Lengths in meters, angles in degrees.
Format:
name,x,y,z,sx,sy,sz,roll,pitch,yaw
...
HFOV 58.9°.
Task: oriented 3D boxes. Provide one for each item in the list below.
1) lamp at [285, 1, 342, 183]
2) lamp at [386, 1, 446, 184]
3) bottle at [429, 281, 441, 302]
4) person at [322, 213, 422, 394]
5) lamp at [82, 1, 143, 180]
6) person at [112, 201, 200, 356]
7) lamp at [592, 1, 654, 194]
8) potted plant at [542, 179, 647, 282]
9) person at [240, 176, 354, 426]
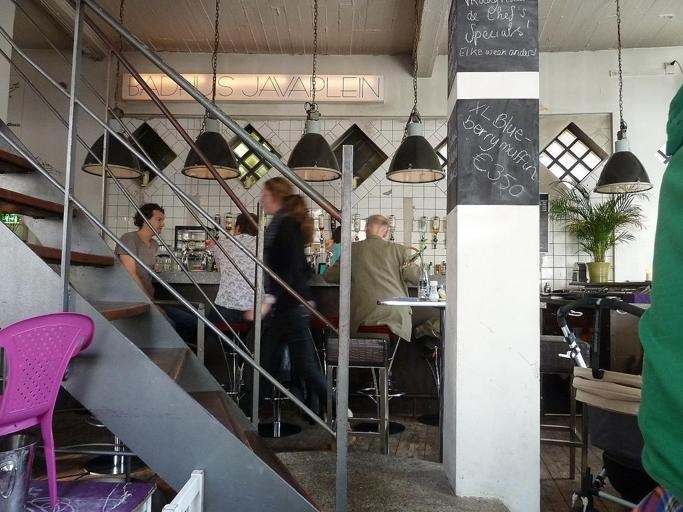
name,x,y,z,sx,sy,sz,roll,pitch,yaw
lamp,-0.291,-1.684,6.248,0.479,1.966,1.289,-1,-5,-1
lamp,0.693,-1.644,6.091,0.519,1.917,1.422,-2,-5,5
bottle,0.612,0.234,4.134,0.101,0.178,0.108,0,-1,0
person,0.283,0.368,5.044,0.636,1.508,0.412,0,12,13
lamp,-2.200,-1.451,5.693,0.486,1.296,0.518,-1,-3,29
person,-1.579,0.048,5.123,0.646,1.382,2.788,1,-6,-20
lamp,2.811,-1.631,6.190,0.481,2.089,1.539,-4,-6,25
potted plant,3.076,-0.231,7.221,0.916,1.141,1.079,3,-1,13
person,-0.369,0.219,4.049,0.413,1.526,0.621,-2,-5,11
